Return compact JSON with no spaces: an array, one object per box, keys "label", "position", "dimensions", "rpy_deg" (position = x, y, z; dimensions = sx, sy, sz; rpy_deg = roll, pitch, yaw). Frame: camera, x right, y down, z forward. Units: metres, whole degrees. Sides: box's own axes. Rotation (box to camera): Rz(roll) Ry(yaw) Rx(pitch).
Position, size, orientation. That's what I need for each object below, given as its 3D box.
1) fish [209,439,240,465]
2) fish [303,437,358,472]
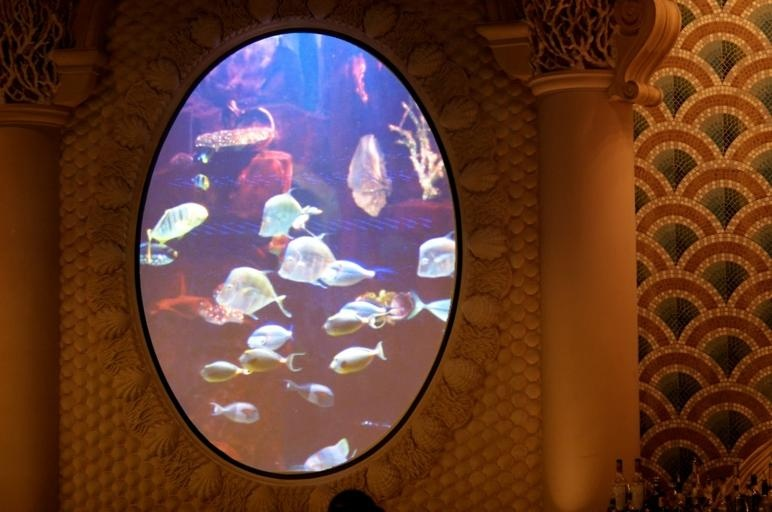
[{"label":"fish","position":[-0.963,1.166,5.362],"dimensions":[0.167,0.117,0.020],"rpy_deg":[0,-10,6]},{"label":"fish","position":[-0.336,1.188,5.360],"dimensions":[0.292,0.164,0.079],"rpy_deg":[-16,4,-5]}]
